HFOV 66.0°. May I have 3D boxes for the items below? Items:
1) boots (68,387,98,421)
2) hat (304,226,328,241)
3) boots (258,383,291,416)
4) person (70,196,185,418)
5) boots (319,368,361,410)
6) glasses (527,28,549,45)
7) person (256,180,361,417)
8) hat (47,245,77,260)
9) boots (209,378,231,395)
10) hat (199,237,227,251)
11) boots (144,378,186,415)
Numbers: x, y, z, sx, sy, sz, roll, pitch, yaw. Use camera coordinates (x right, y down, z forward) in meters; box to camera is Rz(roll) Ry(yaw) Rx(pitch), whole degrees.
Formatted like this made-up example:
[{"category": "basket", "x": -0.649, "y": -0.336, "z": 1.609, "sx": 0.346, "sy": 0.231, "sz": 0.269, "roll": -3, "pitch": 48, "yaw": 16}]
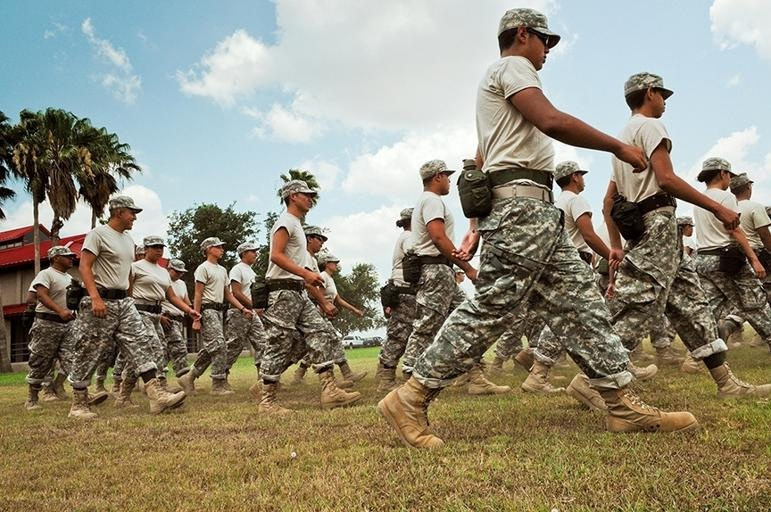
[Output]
[{"category": "boots", "x": -4.304, "y": 2.098, "z": 8.425, "sx": 0.327, "sy": 0.376, "sz": 0.544, "roll": -3, "pitch": -1, "yaw": -34}, {"category": "hat", "x": -1.190, "y": -0.354, "z": 9.935, "sx": 0.378, "sy": 0.118, "sz": 0.257, "roll": 3, "pitch": -5, "yaw": -14}, {"category": "boots", "x": -1.548, "y": 1.939, "z": 8.045, "sx": 0.633, "sy": 0.467, "sz": 0.290, "roll": 1, "pitch": -6, "yaw": -6}, {"category": "person", "x": -3.919, "y": 0.710, "z": 8.592, "sx": 1.441, "sy": 3.203, "sz": 0.880, "roll": -4, "pitch": -2, "yaw": -13}, {"category": "boots", "x": -0.623, "y": 1.799, "z": 8.044, "sx": 0.516, "sy": 0.336, "sz": 0.391, "roll": -4, "pitch": -1, "yaw": -7}, {"category": "glasses", "x": 1.516, "y": -2.171, "z": 5.881, "sx": 0.166, "sy": 0.047, "sz": 0.160, "roll": 7, "pitch": 6, "yaw": -10}, {"category": "person", "x": -1.261, "y": 0.532, "z": 8.338, "sx": 1.207, "sy": 3.275, "sz": 1.343, "roll": -4, "pitch": -2, "yaw": -7}, {"category": "hat", "x": -5.922, "y": -0.062, "z": 10.930, "sx": 0.311, "sy": 0.166, "sz": 0.424, "roll": 0, "pitch": -5, "yaw": 7}, {"category": "boots", "x": -2.943, "y": 2.338, "z": 10.693, "sx": 0.343, "sy": 0.252, "sz": 0.463, "roll": -4, "pitch": -1, "yaw": -18}, {"category": "hat", "x": -3.439, "y": -0.247, "z": 11.758, "sx": 0.535, "sy": 0.188, "sz": 0.357, "roll": -3, "pitch": -1, "yaw": -4}, {"category": "boots", "x": -3.069, "y": 1.898, "z": 8.464, "sx": 0.760, "sy": 0.568, "sz": 0.249, "roll": -33, "pitch": -26, "yaw": 31}]
